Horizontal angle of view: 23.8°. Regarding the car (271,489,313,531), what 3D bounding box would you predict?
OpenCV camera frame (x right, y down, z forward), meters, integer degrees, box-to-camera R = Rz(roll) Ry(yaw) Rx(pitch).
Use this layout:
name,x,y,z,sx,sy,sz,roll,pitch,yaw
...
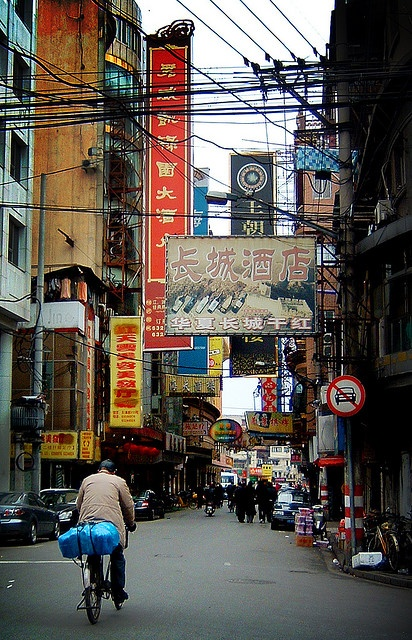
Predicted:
name,x,y,z,sx,sy,sz,roll,pitch,yaw
car,2.690,6.293,32.412,0.790,1.092,2.012,-1,-22,5

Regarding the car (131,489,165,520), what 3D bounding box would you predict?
name,x,y,z,sx,sy,sz,roll,pitch,yaw
car,-2.259,7.352,38.904,0.913,0.989,2.580,-1,-6,7

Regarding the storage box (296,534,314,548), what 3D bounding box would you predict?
name,x,y,z,sx,sy,sz,roll,pitch,yaw
storage box,2.372,5.408,23.863,0.412,0.277,0.806,-1,-9,6

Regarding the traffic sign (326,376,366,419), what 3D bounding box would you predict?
name,x,y,z,sx,sy,sz,roll,pitch,yaw
traffic sign,2.416,1.310,17.052,0.625,0.712,0.309,-1,-7,9
